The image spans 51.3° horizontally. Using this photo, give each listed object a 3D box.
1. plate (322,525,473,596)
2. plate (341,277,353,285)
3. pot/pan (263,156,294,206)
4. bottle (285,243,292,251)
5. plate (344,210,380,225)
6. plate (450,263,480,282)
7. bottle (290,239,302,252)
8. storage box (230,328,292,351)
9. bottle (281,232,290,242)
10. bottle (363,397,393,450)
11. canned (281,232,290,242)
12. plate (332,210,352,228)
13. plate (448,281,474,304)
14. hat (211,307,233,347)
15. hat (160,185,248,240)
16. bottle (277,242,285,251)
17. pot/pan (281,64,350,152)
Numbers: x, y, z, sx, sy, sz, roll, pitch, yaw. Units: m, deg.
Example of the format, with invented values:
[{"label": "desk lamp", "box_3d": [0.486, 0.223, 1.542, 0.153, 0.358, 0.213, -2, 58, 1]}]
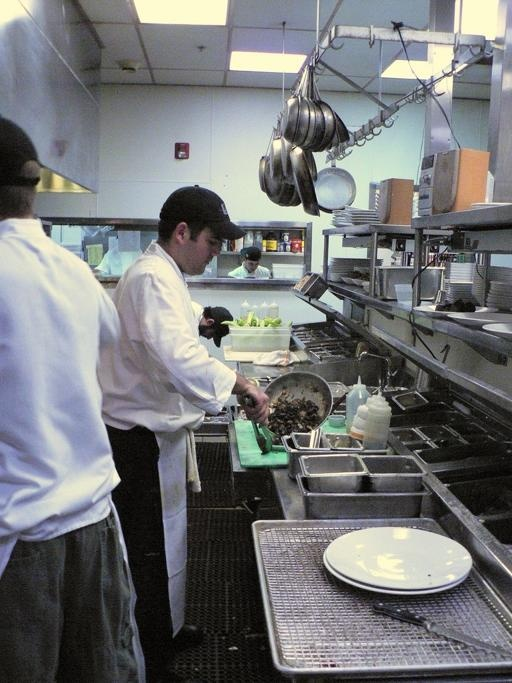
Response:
[{"label": "plate", "box_3d": [0.306, 0.467, 1.163, 0.314, 0.041, 0.281, 3, 9, -4]}, {"label": "plate", "box_3d": [0.605, -0.403, 3.520, 0.054, 0.036, 0.053, 0, 4, 10]}, {"label": "pot/pan", "box_3d": [0.153, -1.246, 4.062, 0.150, 0.401, 0.355, -3, -1, -14]}, {"label": "bottle", "box_3d": [0.370, -1.076, 6.092, 0.087, 0.151, 0.092, 2, 0, 0]}, {"label": "plate", "box_3d": [0.587, -0.685, 2.928, 0.172, 0.064, 0.169, 1, 12, 10]}, {"label": "plate", "box_3d": [0.752, -0.240, 1.908, 0.078, 0.055, 0.076, -2, 4, -32]}, {"label": "bottle", "box_3d": [0.468, -1.100, 6.111, 0.136, 0.138, 0.134, 1, -1, -1]}, {"label": "storage box", "box_3d": [0.038, -0.022, 3.898, 0.321, 0.118, 0.204, 0, 1, -2]}, {"label": "bottle", "box_3d": [0.347, -1.201, 6.095, 0.099, 0.165, 0.092, 0, 10, 0]}, {"label": "bottle", "box_3d": [0.410, 0.274, 1.804, 0.083, 0.184, 0.136, 6, 10, 12]}, {"label": "canned", "box_3d": [0.348, -1.189, 6.110, 0.074, 0.110, 0.079, 0, 10, -20]}, {"label": "plate", "box_3d": [0.525, -0.743, 3.214, 0.148, 0.066, 0.120, -2, 8, -23]}, {"label": "plate", "box_3d": [0.727, -0.180, 1.899, 0.102, 0.065, 0.101, 1, 5, 15]}, {"label": "hat", "box_3d": [-0.242, -0.108, 3.882, 0.140, 0.260, 0.174, -6, 0, 16]}, {"label": "hat", "box_3d": [-0.167, -0.415, 1.713, 0.257, 0.141, 0.171, 2, 15, -2]}, {"label": "bottle", "box_3d": [0.286, -1.086, 6.125, 0.092, 0.162, 0.090, 2, 1, 0]}, {"label": "pot/pan", "box_3d": [0.279, -1.202, 2.721, 0.259, 0.391, 0.453, 13, 13, 42]}]
